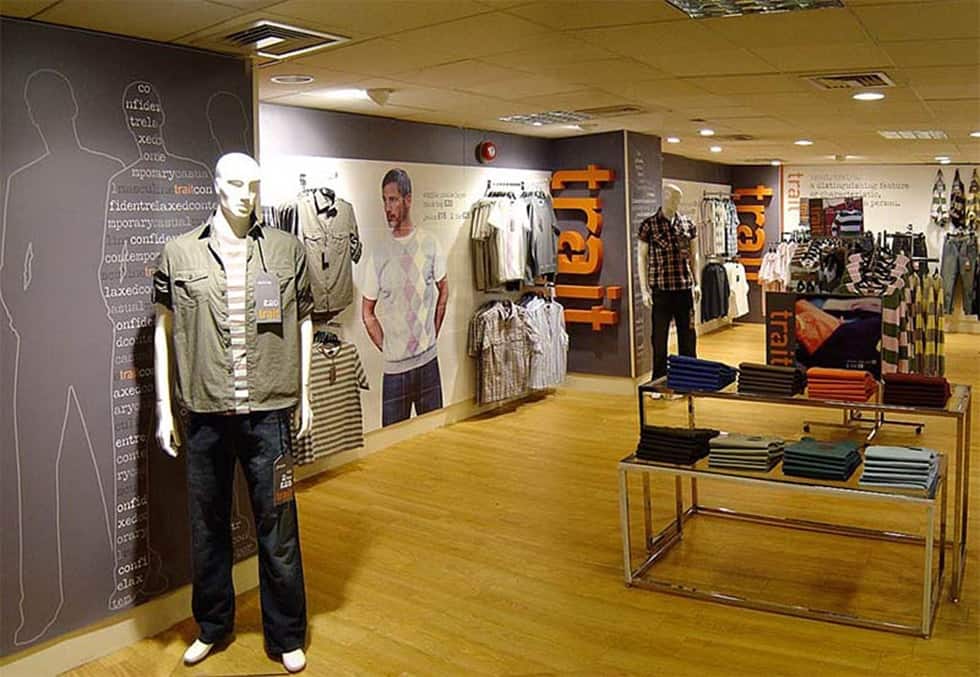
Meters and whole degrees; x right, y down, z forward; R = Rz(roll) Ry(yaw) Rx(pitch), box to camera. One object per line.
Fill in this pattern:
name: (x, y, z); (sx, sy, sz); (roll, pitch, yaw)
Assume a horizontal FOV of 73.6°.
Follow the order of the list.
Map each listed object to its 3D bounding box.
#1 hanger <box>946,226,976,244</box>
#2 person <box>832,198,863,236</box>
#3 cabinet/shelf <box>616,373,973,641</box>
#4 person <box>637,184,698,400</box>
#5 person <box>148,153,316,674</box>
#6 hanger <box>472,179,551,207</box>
hanger: (8.737, -1.943, 12.175); (0.457, 0.285, 0.409); (6, 13, 36)
person: (6.350, -2.186, 11.649); (0.462, 0.610, 2.315); (3, 12, 27)
cabinet/shelf: (2.074, 1.075, 4.275); (2.330, 1.392, 1.588); (2, 6, 30)
person: (2.084, -0.480, 7.710); (0.682, 2.594, 0.733); (1, 11, 20)
person: (-1.417, 0.383, 3.625); (0.866, 2.745, 0.676); (-4, 10, -10)
hanger: (0.374, -1.798, 7.966); (0.350, 0.289, 1.198); (5, 13, 33)
